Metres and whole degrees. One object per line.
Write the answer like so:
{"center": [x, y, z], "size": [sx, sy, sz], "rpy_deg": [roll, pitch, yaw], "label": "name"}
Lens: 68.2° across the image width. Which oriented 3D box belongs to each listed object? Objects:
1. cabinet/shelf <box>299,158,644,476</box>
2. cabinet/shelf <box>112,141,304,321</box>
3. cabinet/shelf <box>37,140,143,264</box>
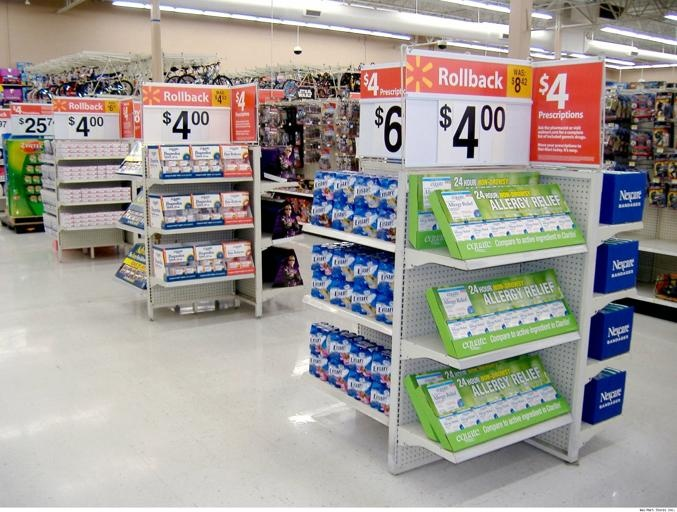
{"center": [0.904, 0.382, 3.126], "size": [1.499, 1.864, 0.860], "rpy_deg": [-5, 13, -23], "label": "cabinet/shelf"}
{"center": [-1.678, -0.331, 6.267], "size": [2.033, 2.024, 1.988], "rpy_deg": [-6, 11, -39], "label": "cabinet/shelf"}
{"center": [-3.862, -0.874, 7.878], "size": [1.606, 2.369, 1.577], "rpy_deg": [-7, 16, -40], "label": "cabinet/shelf"}
